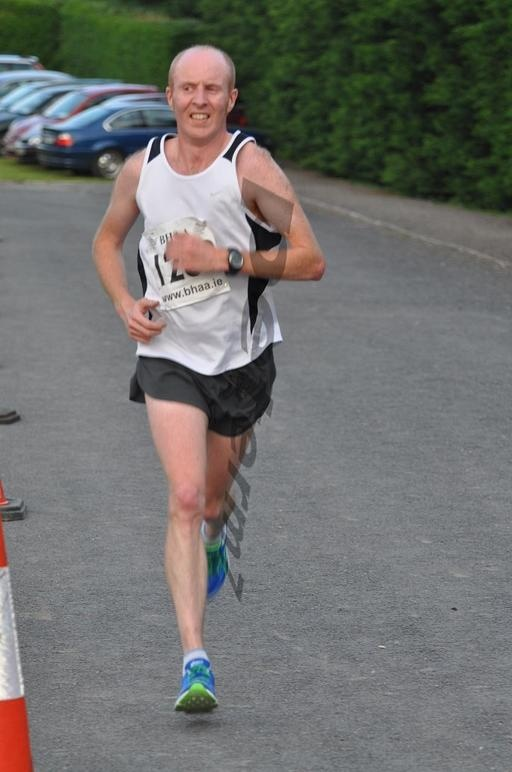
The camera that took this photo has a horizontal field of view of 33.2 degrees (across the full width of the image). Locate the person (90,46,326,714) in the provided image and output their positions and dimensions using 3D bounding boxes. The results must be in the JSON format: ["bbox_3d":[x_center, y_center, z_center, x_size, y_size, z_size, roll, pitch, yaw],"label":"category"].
[{"bbox_3d":[-0.116,-0.079,2.338,0.615,1.688,0.907,-2,9,-10],"label":"person"}]

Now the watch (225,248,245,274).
[{"bbox_3d":[-0.054,-0.324,2.223,0.047,0.059,0.063,1,63,-9],"label":"watch"}]

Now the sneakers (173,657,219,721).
[{"bbox_3d":[-0.139,0.710,2.012,0.070,0.084,0.176,1,10,-2],"label":"sneakers"}]
